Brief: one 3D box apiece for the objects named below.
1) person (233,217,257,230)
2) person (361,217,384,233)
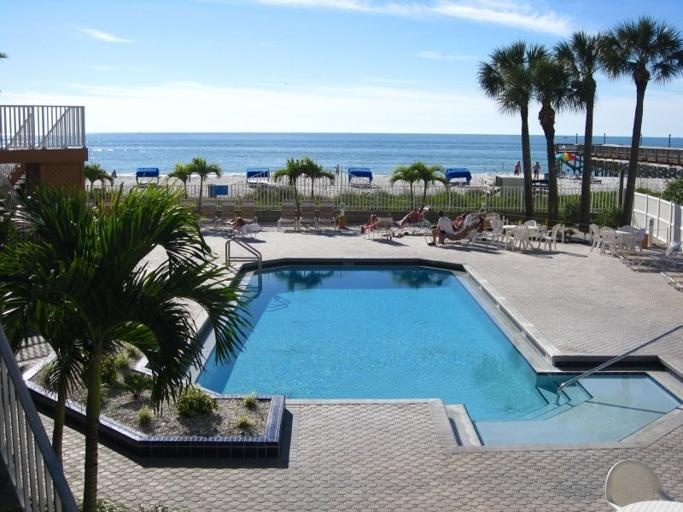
[{"bbox_3d":[-3.442,-1.166,18.727,0.728,0.293,0.561,-4,6,-36],"label":"person"},{"bbox_3d":[1.158,-1.163,20.114,0.487,0.408,0.835,-5,11,-21],"label":"person"}]
